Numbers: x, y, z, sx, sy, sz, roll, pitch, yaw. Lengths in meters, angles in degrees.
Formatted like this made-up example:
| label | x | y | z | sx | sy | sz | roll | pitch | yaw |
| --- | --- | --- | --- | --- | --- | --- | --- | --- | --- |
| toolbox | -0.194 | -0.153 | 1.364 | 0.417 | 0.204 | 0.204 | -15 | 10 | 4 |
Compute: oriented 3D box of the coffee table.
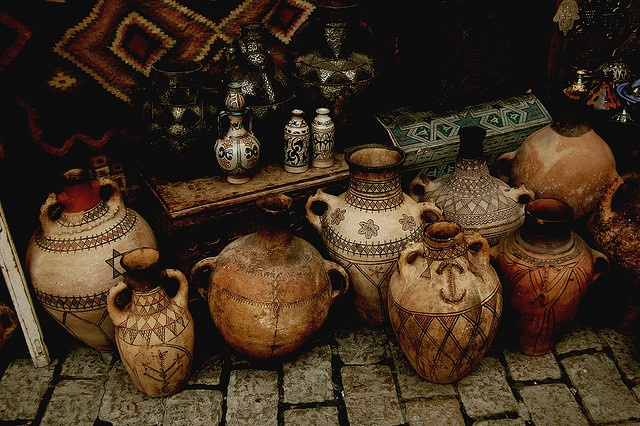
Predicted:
| label | x | y | z | sx | sy | sz | roll | pitch | yaw |
| --- | --- | --- | --- | --- | --- | --- | --- | --- | --- |
| coffee table | -0.723 | 0.422 | 4.853 | 1.756 | 1.208 | 0.930 | -16 | 42 | -23 |

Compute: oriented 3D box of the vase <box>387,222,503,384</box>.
| label | x | y | z | sx | sy | sz | roll | pitch | yaw |
| --- | --- | --- | --- | --- | --- | --- | --- | --- | --- |
| vase | 0.916 | 0.667 | 3.879 | 0.813 | 1.120 | 0.581 | 4 | 34 | 8 |

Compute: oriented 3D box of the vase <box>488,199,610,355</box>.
| label | x | y | z | sx | sy | sz | roll | pitch | yaw |
| --- | --- | --- | --- | --- | --- | --- | --- | --- | --- |
| vase | 1.775 | 0.502 | 4.154 | 0.959 | 1.139 | 0.700 | -1 | 28 | 20 |

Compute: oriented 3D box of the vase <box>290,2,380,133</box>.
| label | x | y | z | sx | sy | sz | roll | pitch | yaw |
| --- | --- | --- | --- | --- | --- | --- | --- | --- | --- |
| vase | 0.130 | -1.251 | 4.593 | 0.705 | 1.083 | 0.648 | 0 | 33 | 3 |

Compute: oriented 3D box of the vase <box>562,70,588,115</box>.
| label | x | y | z | sx | sy | sz | roll | pitch | yaw |
| --- | --- | --- | --- | --- | --- | --- | --- | --- | --- |
| vase | 2.288 | -1.134 | 4.637 | 0.188 | 0.286 | 0.172 | -20 | 34 | -37 |

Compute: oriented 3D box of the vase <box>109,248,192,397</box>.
| label | x | y | z | sx | sy | sz | roll | pitch | yaw |
| --- | --- | --- | --- | --- | --- | --- | --- | --- | --- |
| vase | -1.242 | 0.821 | 3.931 | 0.588 | 1.079 | 0.573 | -9 | 26 | -19 |

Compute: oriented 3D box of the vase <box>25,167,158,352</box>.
| label | x | y | z | sx | sy | sz | roll | pitch | yaw |
| --- | --- | --- | --- | --- | --- | --- | --- | --- | --- |
| vase | -1.847 | 0.360 | 4.323 | 0.997 | 1.371 | 0.995 | 2 | 24 | 11 |

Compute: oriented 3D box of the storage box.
| label | x | y | z | sx | sy | sz | roll | pitch | yaw |
| --- | --- | --- | --- | --- | --- | --- | --- | --- | --- |
| storage box | 1.342 | -0.709 | 5.269 | 1.708 | 0.777 | 0.685 | -13 | 54 | -12 |

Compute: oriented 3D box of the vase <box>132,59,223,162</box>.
| label | x | y | z | sx | sy | sz | roll | pitch | yaw |
| --- | --- | --- | --- | --- | --- | --- | --- | --- | --- |
| vase | -1.291 | -0.889 | 4.419 | 0.673 | 0.782 | 0.694 | 5 | 34 | -15 |

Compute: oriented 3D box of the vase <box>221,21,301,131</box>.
| label | x | y | z | sx | sy | sz | roll | pitch | yaw |
| --- | --- | --- | --- | --- | --- | --- | --- | --- | --- |
| vase | -0.485 | -1.197 | 4.442 | 0.699 | 0.685 | 0.686 | -10 | 46 | -3 |
